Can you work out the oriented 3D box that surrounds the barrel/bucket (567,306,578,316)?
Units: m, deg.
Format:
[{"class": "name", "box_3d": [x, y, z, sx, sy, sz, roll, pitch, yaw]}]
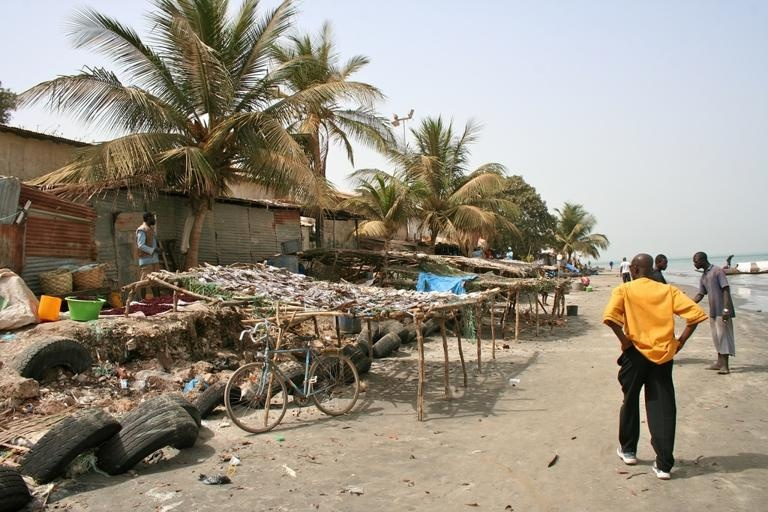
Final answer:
[{"class": "barrel/bucket", "box_3d": [7.354, 2.187, 21.154, 0.437, 0.358, 0.421, 0, -1, 0]}]

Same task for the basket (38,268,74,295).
[{"class": "basket", "box_3d": [-7.185, 0.597, 12.288, 0.508, 0.614, 0.679, 4, 9, 38]}]

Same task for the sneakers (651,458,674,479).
[{"class": "sneakers", "box_3d": [3.914, 3.152, 7.676, 0.127, 0.133, 0.334, 0, -4, 12]}]

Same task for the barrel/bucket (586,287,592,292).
[{"class": "barrel/bucket", "box_3d": [11.962, 1.988, 31.548, 0.382, 0.242, 0.362, 1, -3, 0]}]

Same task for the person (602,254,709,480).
[{"class": "person", "box_3d": [3.750, 1.571, 7.699, 1.129, 3.278, 0.659, 2, 9, 27]}]

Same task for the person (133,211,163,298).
[{"class": "person", "box_3d": [-5.332, -0.258, 12.619, 0.441, 1.600, 1.457, -5, 8, -22]}]

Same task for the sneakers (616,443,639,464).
[{"class": "sneakers", "box_3d": [3.587, 3.057, 8.014, 0.143, 0.159, 0.401, 1, -7, -4]}]

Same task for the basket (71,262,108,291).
[{"class": "basket", "box_3d": [-6.810, 0.518, 12.912, 0.692, 0.420, 0.579, 2, -5, -20]}]
